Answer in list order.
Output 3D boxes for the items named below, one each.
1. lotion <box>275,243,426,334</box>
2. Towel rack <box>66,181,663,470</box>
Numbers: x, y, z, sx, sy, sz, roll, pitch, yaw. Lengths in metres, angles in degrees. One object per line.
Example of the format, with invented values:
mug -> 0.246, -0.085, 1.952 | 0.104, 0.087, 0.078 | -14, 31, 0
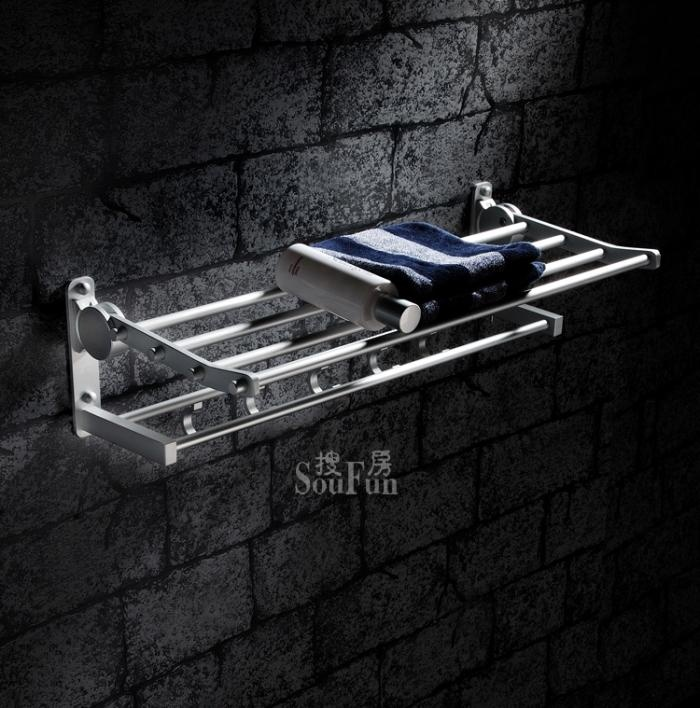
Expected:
lotion -> 0.000, -0.081, 1.254 | 0.065, 0.104, 0.231 | -24, 24, -35
Towel rack -> 0.038, -0.028, 1.416 | 0.784, 0.310, 0.390 | -22, 23, -40
